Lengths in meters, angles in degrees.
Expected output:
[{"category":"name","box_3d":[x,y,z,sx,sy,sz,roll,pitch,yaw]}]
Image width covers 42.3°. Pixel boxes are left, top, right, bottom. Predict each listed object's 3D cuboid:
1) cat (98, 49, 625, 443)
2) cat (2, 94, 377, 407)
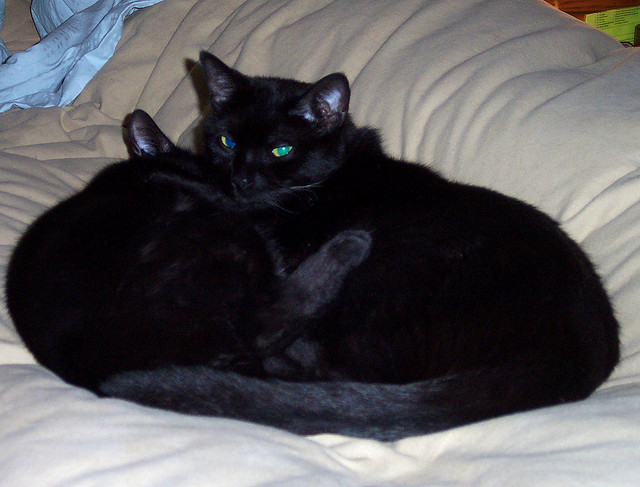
[{"category":"cat","box_3d":[0.327,0.213,2.674,1.654,0.851,1.014,13,48,-39]},{"category":"cat","box_3d":[-0.379,0.109,2.402,0.987,0.479,0.663,-15,52,-11]}]
